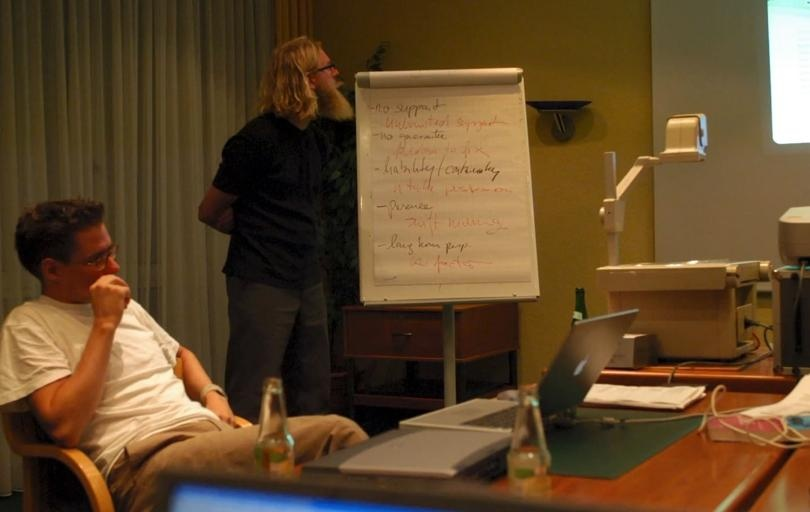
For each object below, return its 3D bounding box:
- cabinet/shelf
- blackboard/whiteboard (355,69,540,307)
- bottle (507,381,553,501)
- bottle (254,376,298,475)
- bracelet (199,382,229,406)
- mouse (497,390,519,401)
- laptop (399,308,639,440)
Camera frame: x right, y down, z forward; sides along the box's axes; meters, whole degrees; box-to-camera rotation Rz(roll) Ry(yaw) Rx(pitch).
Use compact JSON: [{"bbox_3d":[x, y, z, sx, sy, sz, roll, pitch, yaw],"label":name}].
[{"bbox_3d":[0.174,0.538,4.789,0.958,0.975,0.804,-1,0,34],"label":"cabinet/shelf"},{"bbox_3d":[0.162,-0.285,3.207,0.967,1.287,0.145,-1,-10,-2],"label":"blackboard/whiteboard"},{"bbox_3d":[0.320,0.464,1.886,0.107,0.282,0.195,5,13,10],"label":"bottle"},{"bbox_3d":[-0.346,0.480,1.964,0.103,0.318,0.267,1,13,-9],"label":"bottle"},{"bbox_3d":[-0.806,0.581,3.148,0.079,0.095,0.049,4,-7,0],"label":"bracelet"},{"bbox_3d":[0.366,0.490,2.624,0.060,0.029,0.066,-1,3,23],"label":"mouse"},{"bbox_3d":[0.401,0.384,2.433,0.475,0.285,0.474,-2,-2,32],"label":"laptop"}]
